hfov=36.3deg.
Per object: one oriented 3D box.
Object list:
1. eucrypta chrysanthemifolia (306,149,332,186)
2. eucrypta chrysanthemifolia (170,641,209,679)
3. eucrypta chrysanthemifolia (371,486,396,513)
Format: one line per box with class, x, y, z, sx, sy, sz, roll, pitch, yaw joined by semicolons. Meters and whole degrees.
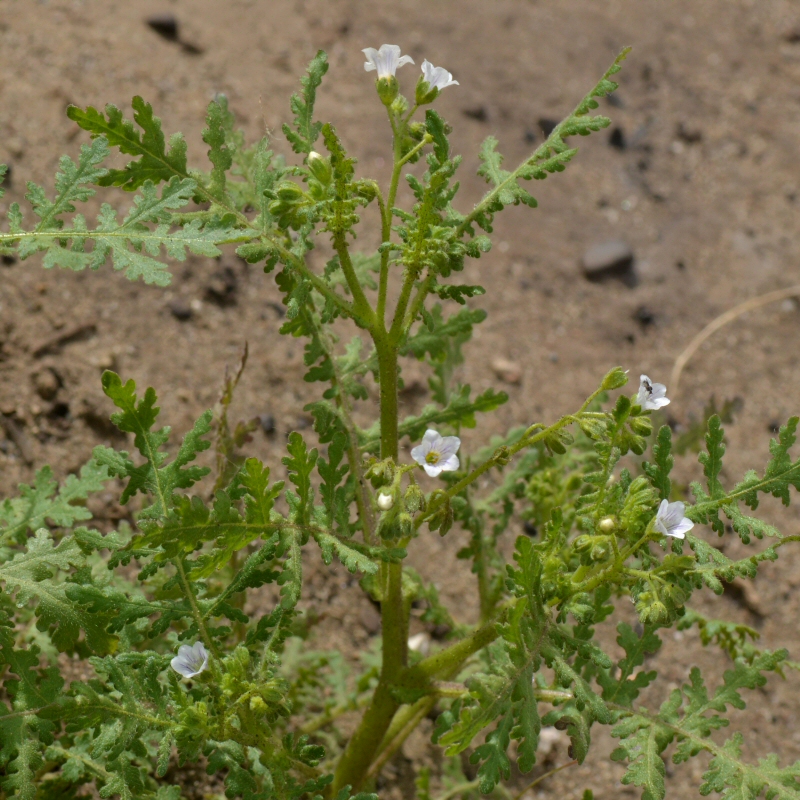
eucrypta chrysanthemifolia;-0.244;-0.668;3.544;0.033;0.056;0.099;-36;100;-39
eucrypta chrysanthemifolia;-0.634;0.778;3.652;0.097;0.061;0.106;-28;76;-21
eucrypta chrysanthemifolia;-0.053;0.291;3.534;0.049;0.066;0.068;5;21;9
